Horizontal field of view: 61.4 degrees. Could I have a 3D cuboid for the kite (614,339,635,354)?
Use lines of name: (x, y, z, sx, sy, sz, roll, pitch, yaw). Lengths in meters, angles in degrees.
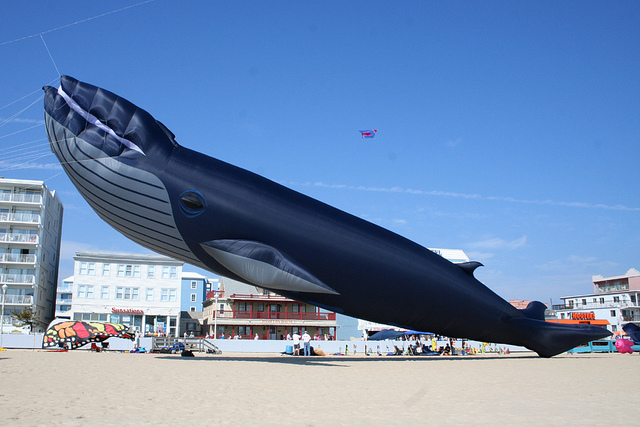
kite: (23.850, 10.141, 41.868, 1.448, 0.600, 1.248, 9, -49, 13)
